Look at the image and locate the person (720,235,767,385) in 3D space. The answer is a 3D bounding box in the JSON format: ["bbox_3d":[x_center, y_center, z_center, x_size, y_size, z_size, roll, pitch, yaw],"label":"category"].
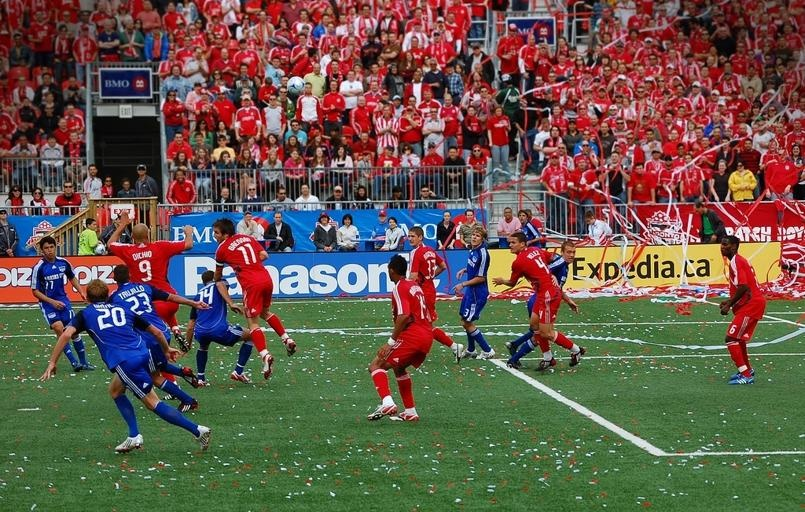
[{"bbox_3d":[7.113,1.087,27.064,0.846,3.018,1.342,0,3,15],"label":"person"}]

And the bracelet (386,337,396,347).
[{"bbox_3d":[-0.182,1.669,24.834,0.226,0.184,0.189,-3,6,-25],"label":"bracelet"}]

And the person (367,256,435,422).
[{"bbox_3d":[-0.034,1.571,24.852,1.145,3.194,0.741,-1,3,-2],"label":"person"}]

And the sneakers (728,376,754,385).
[{"bbox_3d":[6.958,2.532,26.683,0.542,0.221,0.198,2,0,6],"label":"sneakers"}]

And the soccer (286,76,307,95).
[{"bbox_3d":[-3.203,-5.127,38.464,0.534,0.491,0.432,-8,-18,32],"label":"soccer"}]
